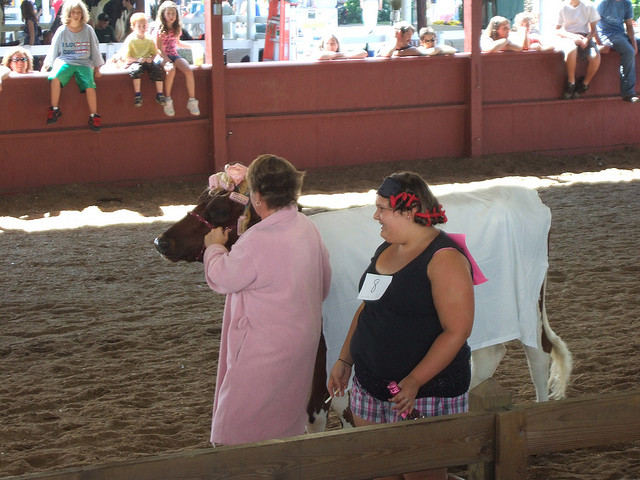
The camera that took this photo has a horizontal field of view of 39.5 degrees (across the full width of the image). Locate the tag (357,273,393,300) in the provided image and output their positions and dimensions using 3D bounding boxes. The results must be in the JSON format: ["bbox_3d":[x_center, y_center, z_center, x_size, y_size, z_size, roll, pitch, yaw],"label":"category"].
[{"bbox_3d":[0.331,0.277,5.243,0.132,0.149,0.016,19,-12,41],"label":"tag"}]

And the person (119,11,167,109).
[{"bbox_3d":[-2.457,-2.457,12.447,0.569,1.294,0.605,-5,11,-17],"label":"person"}]

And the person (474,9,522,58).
[{"bbox_3d":[2.843,-3.246,14.367,1.340,0.647,0.627,-11,14,-40],"label":"person"}]

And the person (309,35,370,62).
[{"bbox_3d":[0.258,-2.944,13.779,0.865,0.404,0.588,-2,11,-2],"label":"person"}]

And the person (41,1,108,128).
[{"bbox_3d":[-3.412,-2.395,12.433,0.855,1.708,1.080,-4,11,-14],"label":"person"}]

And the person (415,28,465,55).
[{"bbox_3d":[1.957,-3.109,14.489,0.603,0.373,0.890,2,0,34],"label":"person"}]

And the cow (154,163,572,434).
[{"bbox_3d":[0.510,0.379,5.890,2.497,1.837,0.554,-4,10,-11],"label":"cow"}]

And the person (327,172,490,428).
[{"bbox_3d":[0.529,0.659,5.429,0.881,2.098,0.875,6,14,28],"label":"person"}]

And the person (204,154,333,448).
[{"bbox_3d":[-0.333,0.359,5.426,0.727,1.706,0.279,-3,10,-5],"label":"person"}]
